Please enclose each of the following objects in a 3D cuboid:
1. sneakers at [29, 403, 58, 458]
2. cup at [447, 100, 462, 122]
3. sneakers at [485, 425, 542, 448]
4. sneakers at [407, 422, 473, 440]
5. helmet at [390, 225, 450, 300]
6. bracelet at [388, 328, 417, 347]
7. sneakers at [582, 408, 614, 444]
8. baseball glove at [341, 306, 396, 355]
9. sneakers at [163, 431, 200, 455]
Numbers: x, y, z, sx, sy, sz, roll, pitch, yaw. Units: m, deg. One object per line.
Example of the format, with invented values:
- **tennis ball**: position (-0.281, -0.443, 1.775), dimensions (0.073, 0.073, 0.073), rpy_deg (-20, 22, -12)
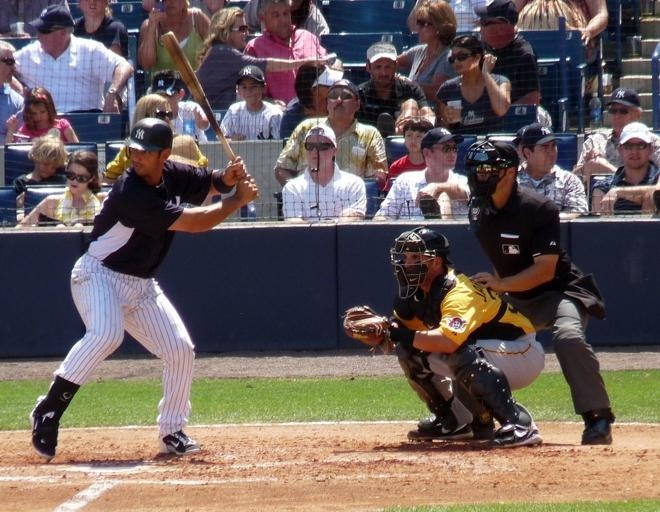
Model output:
- **sneakers**: position (-2.257, 1.361, 11.036), dimensions (0.207, 0.507, 0.177), rpy_deg (-3, 8, -18)
- **cup**: position (1.354, -1.557, 15.110), dimensions (0.149, 0.233, 0.097), rpy_deg (1, 8, 4)
- **sneakers**: position (1.511, 1.438, 11.320), dimensions (0.404, 0.153, 0.162), rpy_deg (2, -6, -18)
- **sneakers**: position (0.912, 1.410, 11.618), dimensions (0.518, 0.193, 0.172), rpy_deg (1, -4, 2)
- **helmet**: position (0.701, 0.032, 11.244), dimensions (0.593, 0.584, 0.479), rpy_deg (7, -5, -23)
- **bracelet**: position (0.576, 0.627, 11.209), dimensions (0.184, 0.059, 0.131), rpy_deg (17, 18, 34)
- **sneakers**: position (2.186, 1.350, 11.339), dimensions (0.266, 0.285, 0.215), rpy_deg (1, 8, 3)
- **baseball glove**: position (0.308, 0.594, 11.365), dimensions (0.432, 0.201, 0.311), rpy_deg (23, -7, -5)
- **sneakers**: position (-1.214, 1.483, 11.327), dimensions (0.318, 0.131, 0.145), rpy_deg (0, 6, 19)
